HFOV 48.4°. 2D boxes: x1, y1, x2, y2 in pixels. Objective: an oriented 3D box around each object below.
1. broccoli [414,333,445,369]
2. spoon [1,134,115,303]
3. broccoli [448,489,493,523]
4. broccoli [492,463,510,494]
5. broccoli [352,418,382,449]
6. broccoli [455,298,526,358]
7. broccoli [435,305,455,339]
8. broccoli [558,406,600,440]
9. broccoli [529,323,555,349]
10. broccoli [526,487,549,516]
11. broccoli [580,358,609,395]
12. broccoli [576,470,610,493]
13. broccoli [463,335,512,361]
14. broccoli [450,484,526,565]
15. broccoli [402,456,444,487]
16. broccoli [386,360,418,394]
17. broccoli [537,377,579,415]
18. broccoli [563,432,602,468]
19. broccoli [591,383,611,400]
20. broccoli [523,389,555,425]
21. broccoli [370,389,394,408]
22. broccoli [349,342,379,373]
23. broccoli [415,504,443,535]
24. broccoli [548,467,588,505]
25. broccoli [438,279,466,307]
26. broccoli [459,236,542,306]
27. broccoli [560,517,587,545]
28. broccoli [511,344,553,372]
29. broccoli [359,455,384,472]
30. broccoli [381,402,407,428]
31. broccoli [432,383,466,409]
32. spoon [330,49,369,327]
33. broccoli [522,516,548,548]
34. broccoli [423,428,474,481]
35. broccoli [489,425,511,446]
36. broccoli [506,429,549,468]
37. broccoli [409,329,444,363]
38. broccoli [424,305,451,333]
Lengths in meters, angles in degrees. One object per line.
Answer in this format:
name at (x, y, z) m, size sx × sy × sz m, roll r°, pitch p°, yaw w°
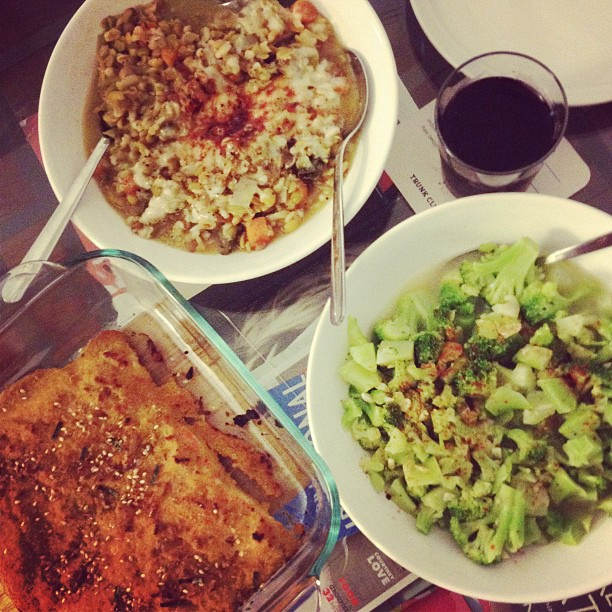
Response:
broccoli at (0.414, 0.155, 2.332) m, size 0.108 × 0.039 × 0.115 m, roll 2°, pitch 88°, yaw 10°
spoon at (-0.860, -0.303, 2.466) m, size 0.102 × 0.209 × 0.691 m, roll 28°, pitch 73°, yaw 11°
broccoli at (0.540, 0.665, 2.292) m, size 0.127 × 0.056 × 0.109 m, roll -13°, pitch 96°, yaw -2°
broccoli at (0.639, 0.572, 2.257) m, size 0.054 × 0.022 × 0.083 m, roll 4°, pitch 98°, yaw 6°
broccoli at (0.213, 0.440, 2.391) m, size 0.083 × 0.035 × 0.108 m, roll -43°, pitch 79°, yaw 13°
broccoli at (0.615, 0.090, 2.379) m, size 0.201 × 0.072 × 0.201 m, roll 40°, pitch 56°, yaw -2°
broccoli at (0.479, 0.056, 2.405) m, size 0.048 × 0.080 × 0.099 m, roll -18°, pitch 78°, yaw 0°
broccoli at (0.905, 0.392, 2.267) m, size 0.133 × 0.078 × 0.101 m, roll -23°, pitch 71°, yaw -7°
broccoli at (0.797, 0.102, 2.311) m, size 0.062 × 0.072 × 0.048 m, roll 9°, pitch 39°, yaw -10°
broccoli at (0.769, 0.653, 2.276) m, size 0.082 × 0.059 × 0.090 m, roll -1°, pitch 70°, yaw 1°
broccoli at (0.949, 0.237, 2.254) m, size 0.080 × 0.037 × 0.100 m, roll -18°, pitch 86°, yaw 14°
broccoli at (0.937, 0.578, 2.246) m, size 0.094 × 0.030 × 0.061 m, roll 11°, pitch 99°, yaw -18°
broccoli at (0.606, 0.146, 2.315) m, size 0.090 × 0.117 × 0.055 m, roll 5°, pitch 107°, yaw 25°
broccoli at (0.617, 0.731, 2.258) m, size 0.242 × 0.100 × 0.276 m, roll 15°, pitch 110°, yaw 8°
broccoli at (0.385, 0.551, 2.270) m, size 0.115 × 0.031 × 0.106 m, roll -18°, pitch 69°, yaw 0°
broccoli at (0.319, 0.240, 2.324) m, size 0.100 × 0.054 × 0.101 m, roll -19°, pitch 71°, yaw -6°
broccoli at (0.837, 0.294, 2.274) m, size 0.091 × 0.093 × 0.139 m, roll -27°, pitch 72°, yaw -8°
broccoli at (0.888, 0.469, 2.222) m, size 0.112 × 0.042 × 0.106 m, roll -49°, pitch 54°, yaw 25°
broccoli at (0.974, 0.281, 2.250) m, size 0.063 × 0.034 × 0.040 m, roll 18°, pitch 71°, yaw 8°
broccoli at (0.762, 0.337, 2.257) m, size 0.098 × 0.027 × 0.111 m, roll 41°, pitch 86°, yaw 2°
broccoli at (0.258, 0.312, 2.327) m, size 0.063 × 0.024 × 0.066 m, roll 33°, pitch 108°, yaw 13°
broccoli at (0.205, 0.185, 2.364) m, size 0.091 × 0.065 × 0.108 m, roll -10°, pitch 70°, yaw -3°
broccoli at (0.416, 0.731, 2.332) m, size 0.085 × 0.091 × 0.083 m, roll 24°, pitch 72°, yaw 10°
broccoli at (0.854, 0.608, 2.248) m, size 0.046 × 0.114 × 0.117 m, roll -17°, pitch 101°, yaw -42°
broccoli at (0.489, -0.045, 2.340) m, size 0.088 × 0.048 × 0.087 m, roll -7°, pitch 89°, yaw 20°
broccoli at (0.668, -0.099, 2.345) m, size 0.281 × 0.121 × 0.223 m, roll -23°, pitch 71°, yaw -7°
broccoli at (0.875, 0.751, 2.275) m, size 0.081 × 0.037 × 0.081 m, roll 35°, pitch 64°, yaw 28°
broccoli at (0.766, 0.169, 2.296) m, size 0.114 × 0.080 × 0.088 m, roll 30°, pitch 73°, yaw 11°
broccoli at (0.225, 0.547, 2.357) m, size 0.070 × 0.017 × 0.038 m, roll 28°, pitch 96°, yaw 26°
broccoli at (0.297, 0.364, 2.307) m, size 0.069 × 0.028 × 0.093 m, roll -23°, pitch 92°, yaw -15°
broccoli at (0.470, 0.305, 2.293) m, size 0.075 × 0.020 × 0.074 m, roll 37°, pitch 61°, yaw 16°
spoon at (0.136, -0.424, 2.441) m, size 0.189 × 0.099 × 0.885 m, roll -2°, pitch 85°, yaw 47°
broccoli at (0.768, 0.768, 2.287) m, size 0.101 × 0.030 × 0.100 m, roll -3°, pitch 95°, yaw -1°
broccoli at (0.482, 0.498, 2.275) m, size 0.174 × 0.046 × 0.173 m, roll 2°, pitch 86°, yaw 0°
broccoli at (0.644, 0.425, 2.279) m, size 0.035 × 0.067 × 0.071 m, roll 14°, pitch 92°, yaw 46°
broccoli at (0.739, 0.471, 2.306) m, size 0.109 × 0.063 × 0.126 m, roll -44°, pitch 85°, yaw -2°
broccoli at (0.413, 0.133, 2.338) m, size 0.103 × 0.043 × 0.111 m, roll -5°, pitch 90°, yaw 5°
broccoli at (0.458, 0.047, 2.378) m, size 0.080 × 0.048 × 0.099 m, roll 2°, pitch 68°, yaw 2°
